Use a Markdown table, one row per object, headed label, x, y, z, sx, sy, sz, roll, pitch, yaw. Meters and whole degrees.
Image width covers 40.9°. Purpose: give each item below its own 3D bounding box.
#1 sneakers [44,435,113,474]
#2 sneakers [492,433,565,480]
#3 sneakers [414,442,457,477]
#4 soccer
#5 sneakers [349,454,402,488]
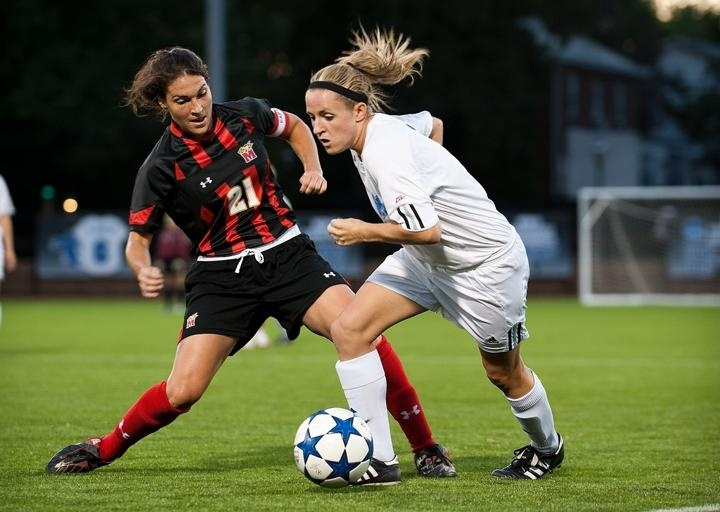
| label | x | y | z | sx | sy | sz | roll | pitch | yaw |
| --- | --- | --- | --- | --- | --- | --- | --- | --- | --- |
| sneakers | -2.299 | 1.638 | 7.973 | 0.575 | 0.215 | 0.245 | -17 | 16 | -8 |
| sneakers | 1.411 | 1.646 | 7.841 | 0.642 | 0.237 | 0.268 | -8 | 4 | -32 |
| sneakers | 0.619 | 1.675 | 7.825 | 0.184 | 0.172 | 0.351 | 0 | -9 | -19 |
| soccer | -0.214 | 1.460 | 7.600 | 0.598 | 0.588 | 0.572 | 0 | 1 | -4 |
| sneakers | 0.104 | 1.712 | 7.599 | 0.452 | 0.201 | 0.153 | 1 | -3 | -7 |
